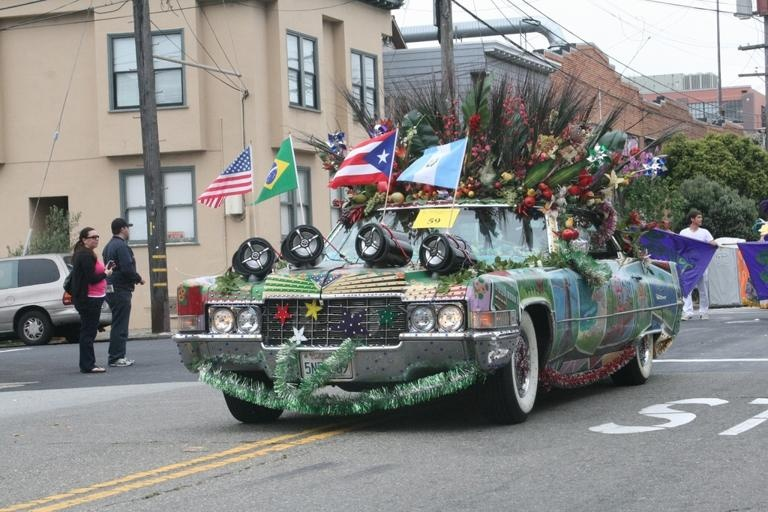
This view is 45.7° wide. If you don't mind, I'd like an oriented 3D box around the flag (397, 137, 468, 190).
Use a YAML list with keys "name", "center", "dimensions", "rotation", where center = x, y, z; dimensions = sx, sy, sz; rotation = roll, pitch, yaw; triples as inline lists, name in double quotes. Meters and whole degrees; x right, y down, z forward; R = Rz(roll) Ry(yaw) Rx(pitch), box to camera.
- name: "flag"
  center: [0.577, -1.068, 10.754]
  dimensions: [0.625, 0.636, 0.185]
  rotation: [-14, -47, 43]

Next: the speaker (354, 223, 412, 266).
- name: "speaker"
  center: [0.033, -0.064, 9.305]
  dimensions: [0.342, 0.401, 0.549]
  rotation: [33, 14, 37]

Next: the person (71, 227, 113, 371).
- name: "person"
  center: [-4.772, 0.722, 14.844]
  dimensions: [0.639, 2.331, 0.681]
  rotation: [0, 3, -22]

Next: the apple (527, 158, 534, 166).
- name: "apple"
  center: [1.724, -1.096, 10.751]
  dimensions: [0.071, 0.074, 0.087]
  rotation: [30, 24, -20]

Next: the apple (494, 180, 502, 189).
- name: "apple"
  center: [1.339, -0.817, 10.637]
  dimensions: [0.109, 0.097, 0.052]
  rotation: [-1, 4, -32]

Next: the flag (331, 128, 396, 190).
- name: "flag"
  center: [-0.216, -1.167, 10.779]
  dimensions: [0.811, 0.914, 0.089]
  rotation: [2, 36, -7]

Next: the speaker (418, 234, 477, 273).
- name: "speaker"
  center: [0.686, 0.005, 9.145]
  dimensions: [0.322, 0.367, 0.571]
  rotation: [23, 12, 32]

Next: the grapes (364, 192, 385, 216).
- name: "grapes"
  center: [-0.106, -0.610, 10.953]
  dimensions: [0.138, 0.155, 0.341]
  rotation: [21, -38, -16]

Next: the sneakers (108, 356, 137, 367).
- name: "sneakers"
  center: [-4.428, 1.789, 15.535]
  dimensions: [0.367, 0.180, 0.155]
  rotation: [-5, 2, -4]

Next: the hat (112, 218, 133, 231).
- name: "hat"
  center: [-4.473, -0.506, 15.531]
  dimensions: [0.198, 0.233, 0.487]
  rotation: [1, 4, -7]

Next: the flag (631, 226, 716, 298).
- name: "flag"
  center: [5.245, 0.076, 16.542]
  dimensions: [1.361, 1.098, 0.130]
  rotation: [14, 2, -2]

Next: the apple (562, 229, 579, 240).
- name: "apple"
  center: [2.103, -0.245, 10.375]
  dimensions: [0.133, 0.075, 0.127]
  rotation: [-18, 26, -42]

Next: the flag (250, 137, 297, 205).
- name: "flag"
  center: [-1.351, -0.997, 11.081]
  dimensions: [0.612, 0.861, 0.072]
  rotation: [-15, 43, -14]
